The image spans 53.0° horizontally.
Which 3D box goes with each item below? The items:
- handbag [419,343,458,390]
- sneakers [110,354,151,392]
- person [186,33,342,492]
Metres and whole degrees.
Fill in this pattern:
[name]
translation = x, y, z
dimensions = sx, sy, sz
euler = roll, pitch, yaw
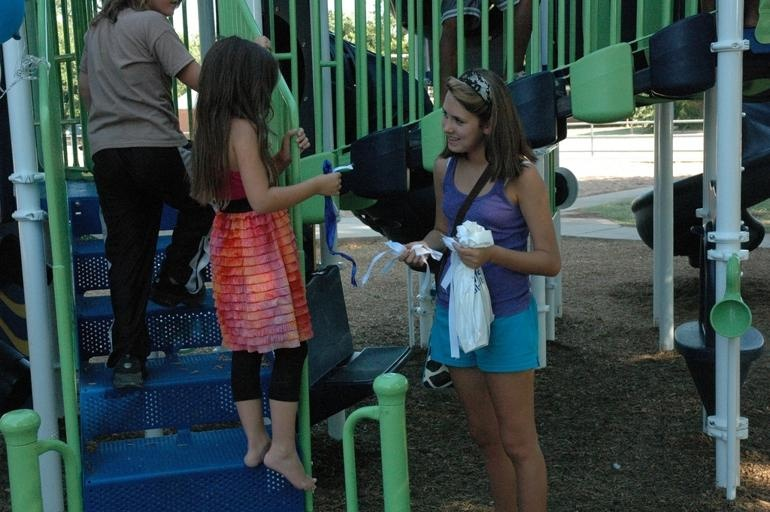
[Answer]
[handbag]
translation = 0.298, 0.601, 3.873
dimensions = 0.099, 0.189, 0.130
euler = 43, 9, 14
[sneakers]
translation = -1.342, 0.625, 4.099
dimensions = 0.190, 0.200, 0.170
euler = 1, 11, -10
[person]
translation = -0.606, 0.049, 3.861
dimensions = 0.556, 2.248, 0.431
euler = 6, 15, 38
